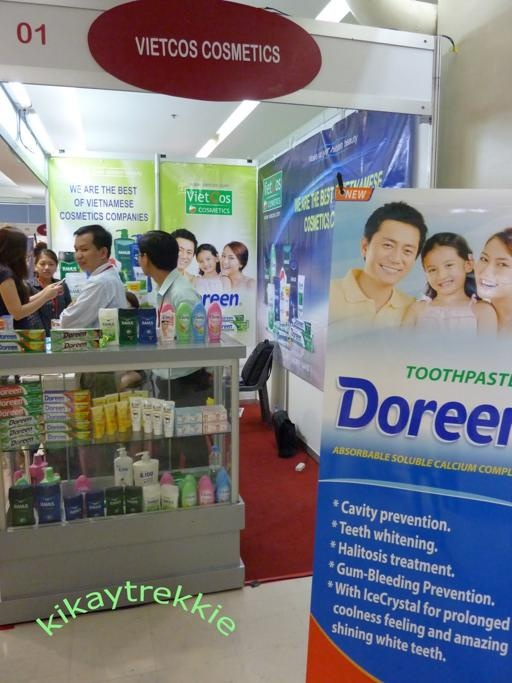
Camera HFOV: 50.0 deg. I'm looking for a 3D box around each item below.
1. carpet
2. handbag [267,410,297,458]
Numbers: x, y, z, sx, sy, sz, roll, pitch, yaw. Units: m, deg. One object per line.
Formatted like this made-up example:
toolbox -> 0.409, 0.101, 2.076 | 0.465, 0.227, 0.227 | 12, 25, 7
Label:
carpet -> 0.167, 0.966, 3.626 | 0.547, 0.047, 2.185 | 0, 8, -2
handbag -> 0.215, 0.742, 4.360 | 0.118, 0.278, 0.269 | -8, 11, -1
